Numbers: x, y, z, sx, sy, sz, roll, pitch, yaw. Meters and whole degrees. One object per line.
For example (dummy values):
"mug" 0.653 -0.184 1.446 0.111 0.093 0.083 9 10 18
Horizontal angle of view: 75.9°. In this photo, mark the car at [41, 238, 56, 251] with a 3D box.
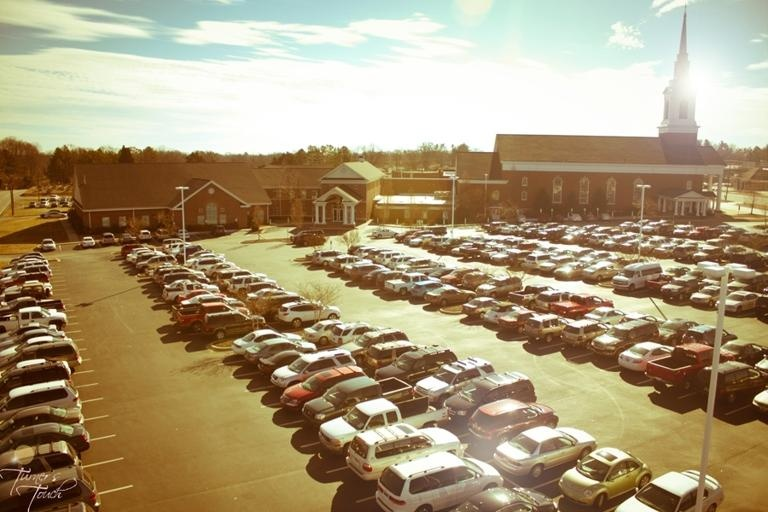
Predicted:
"car" -50.967 -2.110 75.153 2.018 1.408 3.815 0 20 -35

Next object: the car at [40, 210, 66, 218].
"car" -74.497 -9.818 111.158 2.455 1.343 4.965 29 25 38

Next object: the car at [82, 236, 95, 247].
"car" -46.151 -2.427 77.192 1.688 1.585 1.750 -7 9 -34

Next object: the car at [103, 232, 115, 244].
"car" -44.673 -3.255 80.270 1.495 1.044 3.158 1 22 -33
